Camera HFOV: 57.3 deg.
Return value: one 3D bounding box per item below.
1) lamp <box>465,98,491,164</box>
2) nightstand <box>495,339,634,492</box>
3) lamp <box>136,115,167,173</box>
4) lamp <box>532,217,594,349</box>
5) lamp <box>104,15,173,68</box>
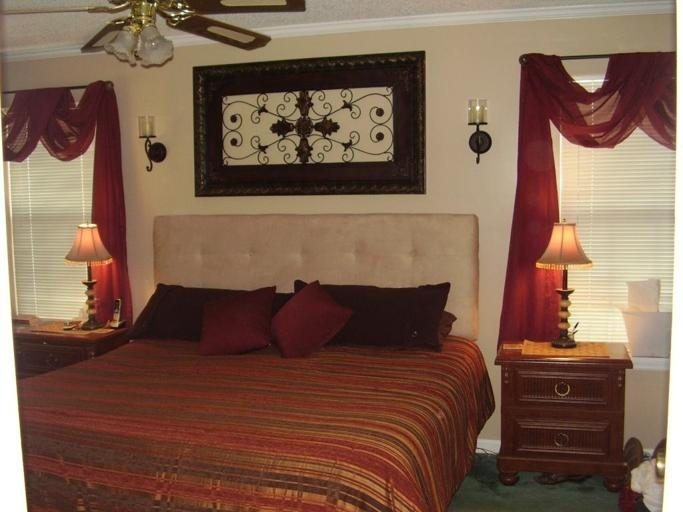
[{"bbox_3d":[1.041,-0.935,4.709,0.187,0.473,0.171,2,13,11],"label":"lamp"},{"bbox_3d":[1.539,1.051,4.438,0.889,0.980,0.572,-1,16,15],"label":"nightstand"},{"bbox_3d":[-1.669,-0.958,5.355,0.282,0.466,0.201,9,16,37],"label":"lamp"},{"bbox_3d":[1.560,0.191,4.468,0.348,0.865,0.408,2,13,12],"label":"lamp"},{"bbox_3d":[-1.044,-1.079,3.176,0.302,0.182,0.239,10,16,41],"label":"lamp"}]
